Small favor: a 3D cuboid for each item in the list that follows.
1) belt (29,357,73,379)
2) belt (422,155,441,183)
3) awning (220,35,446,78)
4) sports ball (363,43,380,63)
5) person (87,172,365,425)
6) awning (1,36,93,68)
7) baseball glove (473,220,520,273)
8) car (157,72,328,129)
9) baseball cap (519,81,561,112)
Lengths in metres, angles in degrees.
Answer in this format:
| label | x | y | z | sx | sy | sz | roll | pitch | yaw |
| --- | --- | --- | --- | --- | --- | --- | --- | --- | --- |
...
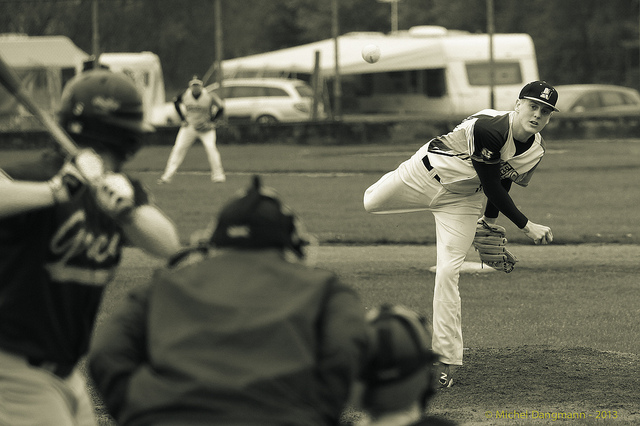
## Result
| label | x | y | z | sx | sy | sz | roll | pitch | yaw |
| --- | --- | --- | --- | --- | --- | --- | --- | --- | --- |
| belt | -1.785 | 1.010 | 6.950 | 0.272 | 0.148 | 0.030 | -1 | 13 | -14 |
| belt | 0.905 | -0.367 | 8.540 | 0.031 | 0.184 | 0.188 | -7 | 16 | -37 |
| awning | 0.337 | -2.481 | 16.621 | 0.961 | 0.689 | 4.880 | 14 | 19 | 40 |
| sports ball | 0.694 | -2.119 | 13.869 | 0.252 | 0.270 | 0.129 | 3 | -2 | -15 |
| person | -0.500 | 0.682 | 6.289 | 1.164 | 1.685 | 0.531 | 12 | -9 | 7 |
| awning | -3.574 | -2.060 | 13.571 | 1.429 | 0.362 | 1.078 | -1 | 11 | -11 |
| baseball glove | 1.445 | 0.282 | 8.775 | 0.423 | 0.459 | 0.179 | -4 | 14 | -24 |
| car | -1.151 | -1.541 | 16.303 | 2.218 | 0.828 | 1.058 | 3 | 10 | -4 |
| baseball cap | 1.755 | -0.924 | 8.275 | 0.306 | 0.231 | 0.439 | 19 | 7 | -5 |
